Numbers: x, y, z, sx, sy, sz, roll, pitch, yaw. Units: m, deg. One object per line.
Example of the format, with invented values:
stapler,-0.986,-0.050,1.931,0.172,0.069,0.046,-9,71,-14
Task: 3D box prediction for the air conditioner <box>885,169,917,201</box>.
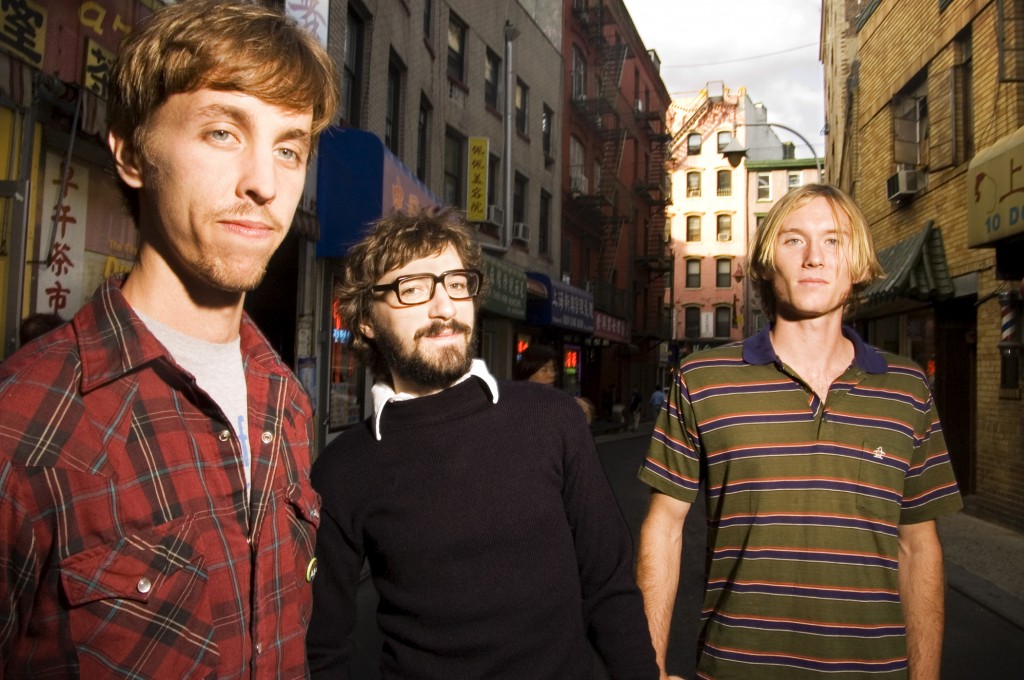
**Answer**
air conditioner,6.722,-2.650,15.466,0.378,0.573,0.759,1,-2,5
